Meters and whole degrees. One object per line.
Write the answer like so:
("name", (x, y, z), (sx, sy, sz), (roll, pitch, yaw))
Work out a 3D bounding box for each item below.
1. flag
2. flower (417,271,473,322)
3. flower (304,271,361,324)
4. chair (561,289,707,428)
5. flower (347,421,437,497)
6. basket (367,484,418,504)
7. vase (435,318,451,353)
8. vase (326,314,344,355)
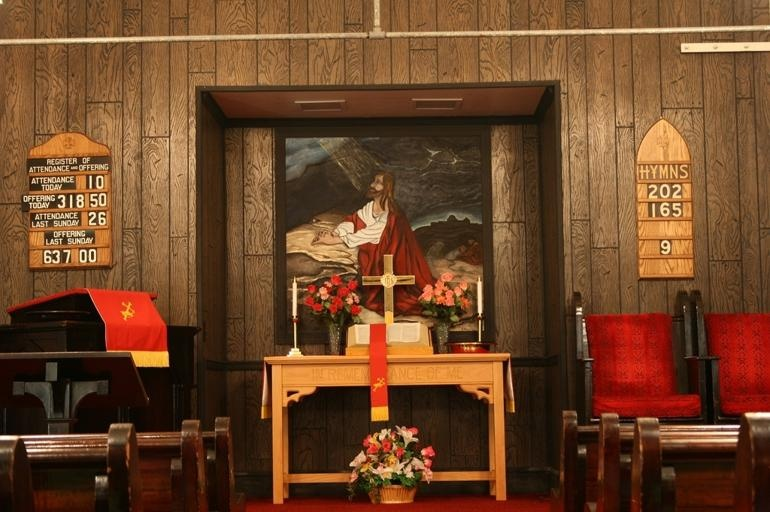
("flag", (-2.244, 0.634, 11.585), (0.668, 0.692, 0.449), (5, -7, -43))
("flower", (0.578, 0.405, 12.988), (0.494, 0.504, 0.306), (-2, -5, 4))
("flower", (-0.517, 0.425, 12.942), (0.449, 0.513, 0.494), (3, -3, -7))
("chair", (2.323, 1.077, 12.183), (1.071, 1.615, 0.862), (-2, -9, 3))
("flower", (0.066, 1.900, 12.311), (0.639, 0.536, 0.696), (2, -2, -6))
("basket", (0.058, 2.175, 12.234), (0.424, 0.170, 0.176), (-1, -5, -1))
("vase", (0.557, 0.774, 12.986), (0.150, 0.316, 0.277), (-1, -5, 2))
("vase", (-0.486, 0.772, 12.993), (0.150, 0.348, 0.211), (-1, -5, -3))
